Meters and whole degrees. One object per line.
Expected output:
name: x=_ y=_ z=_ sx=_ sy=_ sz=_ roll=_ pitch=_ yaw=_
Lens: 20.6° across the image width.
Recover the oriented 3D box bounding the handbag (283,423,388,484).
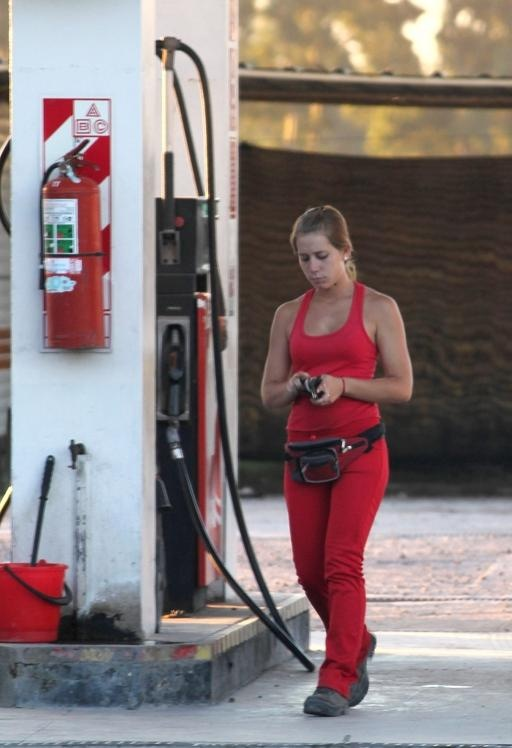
handbag: x=0.213 y=0.272 z=4.604 sx=0.245 sy=0.124 sz=0.298 roll=-6 pitch=3 yaw=14

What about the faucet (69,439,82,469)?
faucet: x=-0.597 y=0.269 z=4.729 sx=0.046 sy=0.095 sz=0.053 roll=-2 pitch=4 yaw=-9

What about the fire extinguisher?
fire extinguisher: x=-0.576 y=-0.438 z=4.667 sx=0.248 sy=0.645 sz=0.240 roll=0 pitch=7 yaw=-1

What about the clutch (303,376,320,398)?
clutch: x=0.184 y=0.037 z=4.389 sx=0.041 sy=0.066 sz=0.070 roll=2 pitch=-12 yaw=-27

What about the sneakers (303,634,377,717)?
sneakers: x=0.293 y=1.013 z=4.572 sx=0.149 sy=0.173 sz=0.505 roll=1 pitch=4 yaw=23

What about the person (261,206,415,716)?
person: x=0.277 y=0.271 z=4.572 sx=0.433 sy=1.612 sz=0.639 roll=1 pitch=-6 yaw=-12
